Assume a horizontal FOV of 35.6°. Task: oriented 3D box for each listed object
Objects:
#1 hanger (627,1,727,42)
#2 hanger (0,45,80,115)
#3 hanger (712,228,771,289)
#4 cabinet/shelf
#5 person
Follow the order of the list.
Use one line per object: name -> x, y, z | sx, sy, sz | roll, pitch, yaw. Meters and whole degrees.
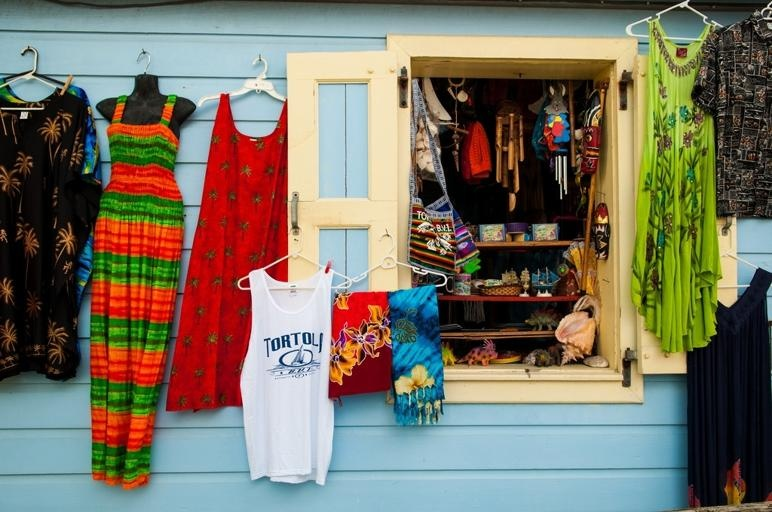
hanger -> 1.705, -1.399, 7.117 | 0.573, 0.254, 0.301 | -1, 4, 8
hanger -> -2.025, -1.052, 7.098 | 0.356, 0.283, 0.017 | 2, 5, 3
hanger -> 2.095, -0.002, 7.132 | 0.314, 0.226, 0.029 | -1, -5, -19
cabinet/shelf -> 0.854, 0.225, 7.681 | 0.992, 0.777, 1.037 | -1, 4, 3
person -> -1.425, 0.125, 7.062 | 0.606, 2.380, 0.298 | -2, 4, -8
